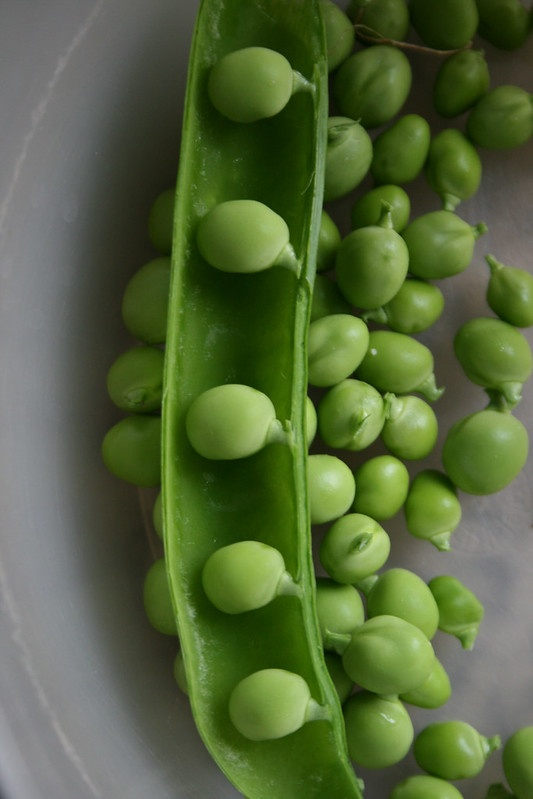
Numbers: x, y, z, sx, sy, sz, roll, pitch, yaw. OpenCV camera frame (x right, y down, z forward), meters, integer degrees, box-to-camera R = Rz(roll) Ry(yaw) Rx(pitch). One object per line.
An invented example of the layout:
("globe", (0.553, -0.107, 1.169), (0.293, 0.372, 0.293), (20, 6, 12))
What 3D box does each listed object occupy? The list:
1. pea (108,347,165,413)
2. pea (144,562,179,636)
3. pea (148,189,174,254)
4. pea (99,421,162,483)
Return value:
("pea", (-0.184, -0.025, 1.213), (0.085, 0.049, 0.086), (-16, 78, 1))
("pea", (-0.148, 0.274, 1.151), (0.055, 0.078, 0.089), (-8, 66, -12))
("pea", (-0.154, -0.258, 1.208), (0.051, 0.068, 0.080), (6, 95, -18))
("pea", (-0.190, 0.072, 1.172), (0.081, 0.073, 0.086), (-2, 51, -9))
